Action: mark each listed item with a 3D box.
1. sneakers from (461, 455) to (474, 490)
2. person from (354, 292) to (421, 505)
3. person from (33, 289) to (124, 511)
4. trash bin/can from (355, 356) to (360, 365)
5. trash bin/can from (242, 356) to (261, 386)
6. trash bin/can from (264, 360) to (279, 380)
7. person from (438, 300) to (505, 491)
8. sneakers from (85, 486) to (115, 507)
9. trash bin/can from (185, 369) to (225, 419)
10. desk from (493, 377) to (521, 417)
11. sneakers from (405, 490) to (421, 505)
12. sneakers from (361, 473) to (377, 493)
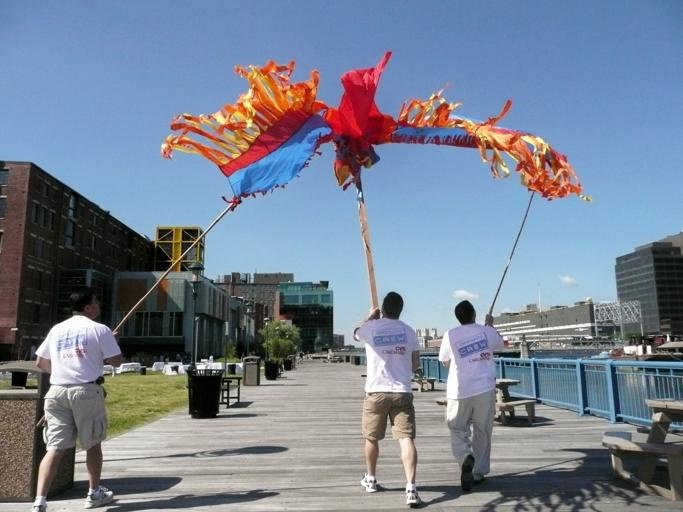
[{"bbox_3d":[1.611,2.851,6.484,0.157,0.456,0.185,2,-2,7],"label":"sneakers"},{"bbox_3d":[0.595,1.767,6.314,0.776,2.586,0.582,-2,-9,9],"label":"person"},{"bbox_3d":[-3.201,1.722,6.035,0.935,2.628,0.642,4,-10,-27],"label":"person"},{"bbox_3d":[2.010,13.628,63.733,0.711,1.378,1.364,2,-8,-11],"label":"trash bin/can"},{"bbox_3d":[-4.539,5.874,25.049,0.733,1.408,1.223,1,-9,-13],"label":"trash bin/can"},{"bbox_3d":[-4.288,7.057,30.230,1.113,1.168,1.071,8,-17,-23],"label":"trash bin/can"},{"bbox_3d":[1.761,1.881,6.767,0.761,2.490,0.678,7,-12,-41],"label":"person"},{"bbox_3d":[-2.904,2.956,6.085,0.156,0.186,0.412,0,-3,13],"label":"sneakers"},{"bbox_3d":[-3.665,3.788,13.568,1.181,1.374,1.113,0,-13,-6],"label":"trash bin/can"},{"bbox_3d":[4.306,3.675,12.514,0.937,0.740,1.037,-22,-25,11],"label":"desk"},{"bbox_3d":[0.855,2.894,5.932,0.103,0.130,0.265,1,-2,5],"label":"sneakers"},{"bbox_3d":[0.360,2.991,6.481,0.124,0.145,0.308,1,-6,-1],"label":"sneakers"}]
